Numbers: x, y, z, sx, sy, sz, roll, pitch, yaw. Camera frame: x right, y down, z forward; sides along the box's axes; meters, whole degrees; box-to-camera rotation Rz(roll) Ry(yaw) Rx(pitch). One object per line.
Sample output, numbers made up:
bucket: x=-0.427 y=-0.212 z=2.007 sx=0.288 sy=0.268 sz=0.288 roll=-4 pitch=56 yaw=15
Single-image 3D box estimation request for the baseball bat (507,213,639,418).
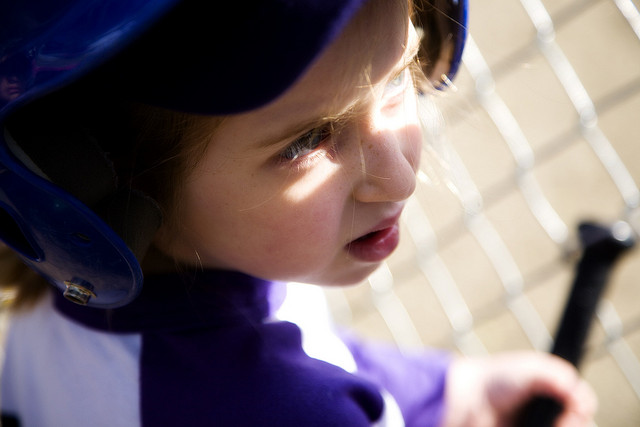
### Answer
baseball bat: x=0.446 y=0.244 z=1.222 sx=0.141 sy=0.105 sz=0.470 roll=23 pitch=111 yaw=16
